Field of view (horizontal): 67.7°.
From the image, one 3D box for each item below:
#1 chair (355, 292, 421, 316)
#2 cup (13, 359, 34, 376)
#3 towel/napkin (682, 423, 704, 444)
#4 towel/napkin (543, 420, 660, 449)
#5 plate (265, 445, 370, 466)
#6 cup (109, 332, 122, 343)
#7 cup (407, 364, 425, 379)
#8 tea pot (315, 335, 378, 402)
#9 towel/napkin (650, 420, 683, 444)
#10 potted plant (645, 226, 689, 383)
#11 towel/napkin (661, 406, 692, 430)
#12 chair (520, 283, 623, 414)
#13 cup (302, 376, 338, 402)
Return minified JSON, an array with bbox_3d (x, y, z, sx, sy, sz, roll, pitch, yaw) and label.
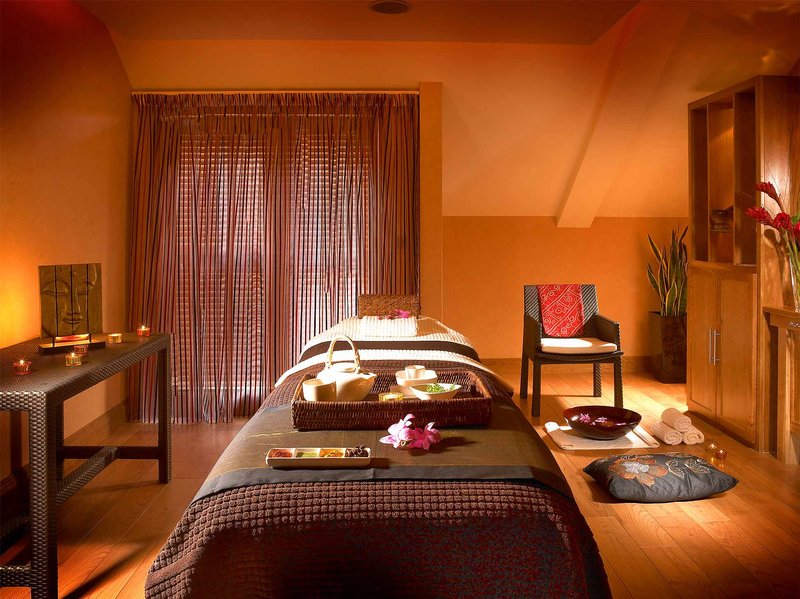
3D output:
[{"bbox_3d":[-0.086,0.028,4.113,0.408,0.132,0.286,-3,11,-12],"label":"chair"},{"bbox_3d":[-1.512,0.266,2.383,0.051,0.046,0.073,-8,13,-35],"label":"cup"},{"bbox_3d":[1.791,0.824,3.641,0.089,0.064,0.173,-2,-1,9],"label":"towel/napkin"},{"bbox_3d":[1.242,0.826,3.658,0.356,0.043,0.372,-2,5,-6],"label":"towel/napkin"},{"bbox_3d":[-0.279,0.529,2.028,0.240,0.031,0.128,0,2,1],"label":"plate"},{"bbox_3d":[-1.441,0.187,3.017,0.056,0.037,0.054,1,5,0],"label":"cup"},{"bbox_3d":[0.076,0.322,2.699,0.059,0.041,0.057,0,0,0],"label":"cup"},{"bbox_3d":[-0.259,0.308,2.596,0.304,0.260,0.228,-4,-2,28],"label":"tea pot"},{"bbox_3d":[1.638,0.816,3.666,0.095,0.074,0.183,1,1,-1],"label":"towel/napkin"},{"bbox_3d":[2.306,0.028,5.180,0.351,1.269,0.844,3,11,22],"label":"potted plant"},{"bbox_3d":[1.724,0.727,3.725,0.121,0.106,0.174,0,2,-6],"label":"towel/napkin"},{"bbox_3d":[1.226,0.314,4.398,0.621,0.841,0.740,-1,4,3],"label":"chair"},{"bbox_3d":[-0.328,0.361,2.396,0.085,0.075,0.108,0,-2,-2],"label":"cup"}]
